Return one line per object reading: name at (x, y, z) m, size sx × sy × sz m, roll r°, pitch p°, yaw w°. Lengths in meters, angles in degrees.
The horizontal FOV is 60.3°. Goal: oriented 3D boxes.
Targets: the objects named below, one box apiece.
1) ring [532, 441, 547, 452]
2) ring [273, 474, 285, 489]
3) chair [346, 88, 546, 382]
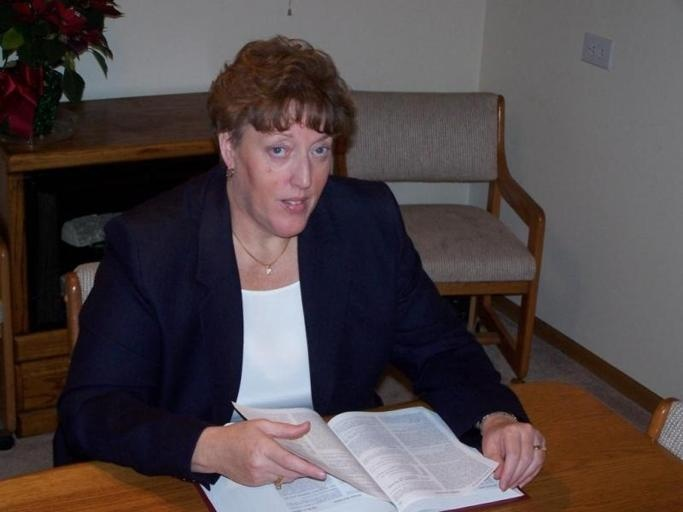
ring at (0.392, 0.379, 1.164) m, size 0.011 × 0.015 × 0.035 m, roll -1°, pitch 6°, yaw 6°
ring at (-0.112, 0.410, 1.064) m, size 0.015 × 0.033 × 0.029 m, roll 6°, pitch 16°, yaw -2°
chair at (0.428, -0.095, 2.990) m, size 1.031 × 1.388 × 0.893 m, roll -4°, pitch 20°, yaw -12°
